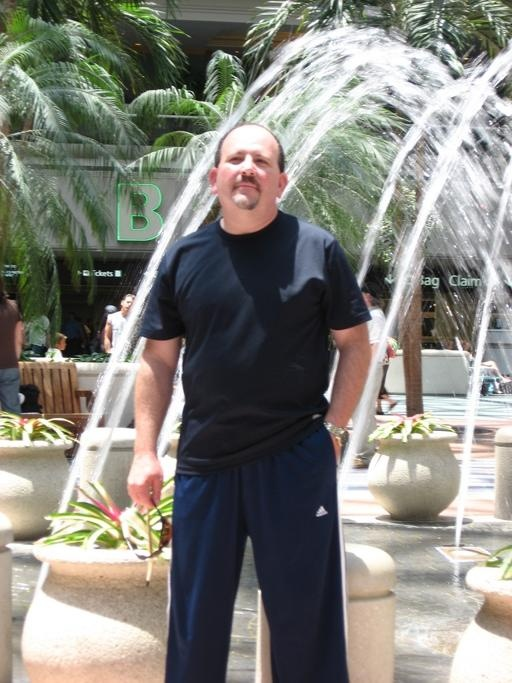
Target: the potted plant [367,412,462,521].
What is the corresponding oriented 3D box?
[{"bbox_3d":[1.499,1.194,6.679,0.918,0.917,0.907,-4,-8,31],"label":"potted plant"}]
